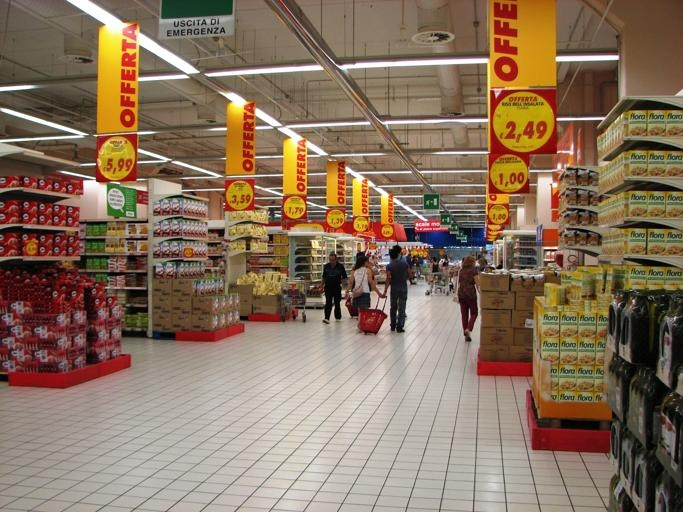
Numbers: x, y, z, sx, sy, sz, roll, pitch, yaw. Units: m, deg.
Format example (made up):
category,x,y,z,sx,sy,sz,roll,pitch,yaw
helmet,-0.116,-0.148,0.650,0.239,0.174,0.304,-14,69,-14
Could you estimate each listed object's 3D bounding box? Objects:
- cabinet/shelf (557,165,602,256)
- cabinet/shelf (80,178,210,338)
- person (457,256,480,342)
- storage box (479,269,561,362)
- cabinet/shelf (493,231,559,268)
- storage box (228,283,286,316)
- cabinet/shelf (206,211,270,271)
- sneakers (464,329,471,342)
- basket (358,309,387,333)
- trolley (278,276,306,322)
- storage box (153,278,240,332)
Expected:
category,x,y,z,sx,sy,sz,roll,pitch,yaw
cabinet/shelf,3.717,-0.718,8.013,0.579,0.961,0.942,1,1,24
cabinet/shelf,-4.005,0.125,10.498,2.110,3.566,3.856,0,1,3
person,2.508,0.871,10.291,0.370,1.754,1.281,0,0,13
storage box,2.541,0.917,7.703,0.869,1.285,0.481,0,0,15
cabinet/shelf,6.457,-0.268,18.587,2.746,1.491,3.006,-1,1,34
storage box,-2.188,1.100,13.900,1.035,0.600,0.986,1,-2,2
cabinet/shelf,-2.826,-0.560,14.855,1.590,2.065,2.250,-1,0,29
sneakers,2.523,1.601,10.342,0.146,0.150,0.374,-4,-45,12
basket,0.701,1.439,11.556,0.697,0.559,0.511,8,-11,16
trolley,-1.319,1.159,13.927,0.864,1.112,1.250,-1,-2,2
storage box,-3.139,1.014,10.941,1.404,1.154,1.092,1,0,18
